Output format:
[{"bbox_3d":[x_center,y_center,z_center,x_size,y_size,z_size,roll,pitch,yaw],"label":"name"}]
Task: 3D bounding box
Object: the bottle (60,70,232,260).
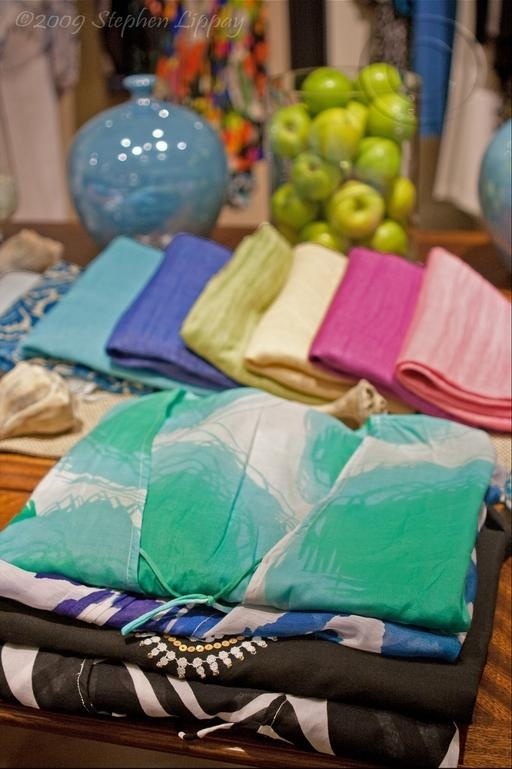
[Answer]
[{"bbox_3d":[-0.107,-0.213,0.679,0.158,0.171,0.152,-6,17,-9],"label":"bottle"}]
